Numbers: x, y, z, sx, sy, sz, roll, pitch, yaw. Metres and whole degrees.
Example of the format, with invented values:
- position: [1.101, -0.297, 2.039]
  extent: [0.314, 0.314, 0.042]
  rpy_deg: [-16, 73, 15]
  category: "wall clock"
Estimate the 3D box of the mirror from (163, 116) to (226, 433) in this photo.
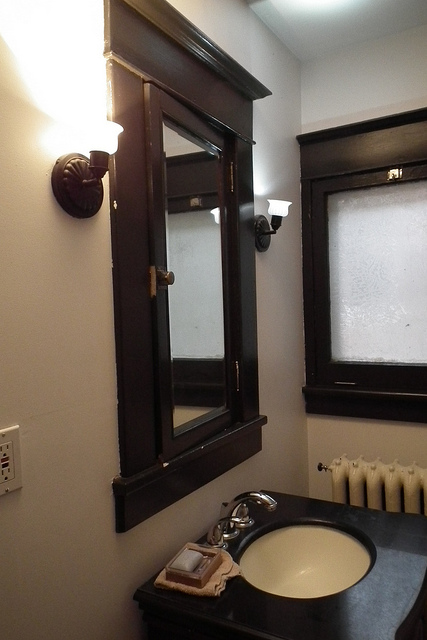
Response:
- position: [-0.043, -0.117, 1.391]
  extent: [0.021, 0.801, 0.370]
  rpy_deg: [-1, 1, 23]
  category: "mirror"

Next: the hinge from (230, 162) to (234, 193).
- position: [0.062, -0.459, 1.582]
  extent: [0.009, 0.087, 0.012]
  rpy_deg: [-1, 1, 15]
  category: "hinge"

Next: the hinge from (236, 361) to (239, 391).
- position: [0.080, 0.183, 1.608]
  extent: [0.008, 0.096, 0.003]
  rpy_deg: [-1, 1, 19]
  category: "hinge"

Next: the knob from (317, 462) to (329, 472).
- position: [0.447, 0.593, 2.010]
  extent: [0.055, 0.039, 0.037]
  rpy_deg: [1, 0, 25]
  category: "knob"

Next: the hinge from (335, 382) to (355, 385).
- position: [0.589, 0.281, 2.198]
  extent: [0.088, 0.011, 0.010]
  rpy_deg: [2, -1, 12]
  category: "hinge"

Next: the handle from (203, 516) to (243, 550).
- position: [0.027, 0.529, 1.229]
  extent: [0.082, 0.096, 0.065]
  rpy_deg: [0, -2, 17]
  category: "handle"

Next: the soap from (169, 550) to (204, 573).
- position: [-0.055, 0.522, 1.080]
  extent: [0.060, 0.018, 0.077]
  rpy_deg: [-1, 1, 23]
  category: "soap"

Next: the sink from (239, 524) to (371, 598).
- position: [0.287, 0.705, 1.386]
  extent: [0.301, 0.353, 0.103]
  rpy_deg: [-3, 34, 12]
  category: "sink"
